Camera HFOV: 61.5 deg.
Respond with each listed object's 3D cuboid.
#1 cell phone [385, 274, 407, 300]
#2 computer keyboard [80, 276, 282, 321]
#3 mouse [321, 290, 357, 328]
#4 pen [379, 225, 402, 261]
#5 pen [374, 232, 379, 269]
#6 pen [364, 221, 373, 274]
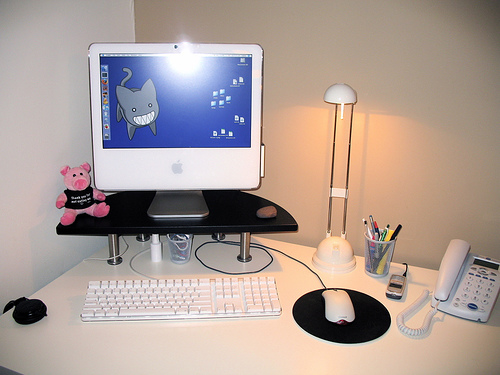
[{"bbox_3d":[0.494,0.338,1.426,0.053,0.033,0.121,9,21,28],"label":"cell phone"},{"bbox_3d":[-0.225,0.368,1.343,0.597,0.087,0.180,1,24,-8],"label":"computer keyboard"},{"bbox_3d":[0.276,0.366,1.307,0.107,0.068,0.148,1,13,6],"label":"mouse"},{"bbox_3d":[0.502,0.193,1.516,0.017,0.159,0.017,26,12,-6],"label":"pen"},{"bbox_3d":[0.445,0.223,1.486,0.020,0.127,0.028,2,13,9],"label":"pen"},{"bbox_3d":[0.419,0.210,1.500,0.018,0.188,0.019,-10,-1,14],"label":"pen"}]
